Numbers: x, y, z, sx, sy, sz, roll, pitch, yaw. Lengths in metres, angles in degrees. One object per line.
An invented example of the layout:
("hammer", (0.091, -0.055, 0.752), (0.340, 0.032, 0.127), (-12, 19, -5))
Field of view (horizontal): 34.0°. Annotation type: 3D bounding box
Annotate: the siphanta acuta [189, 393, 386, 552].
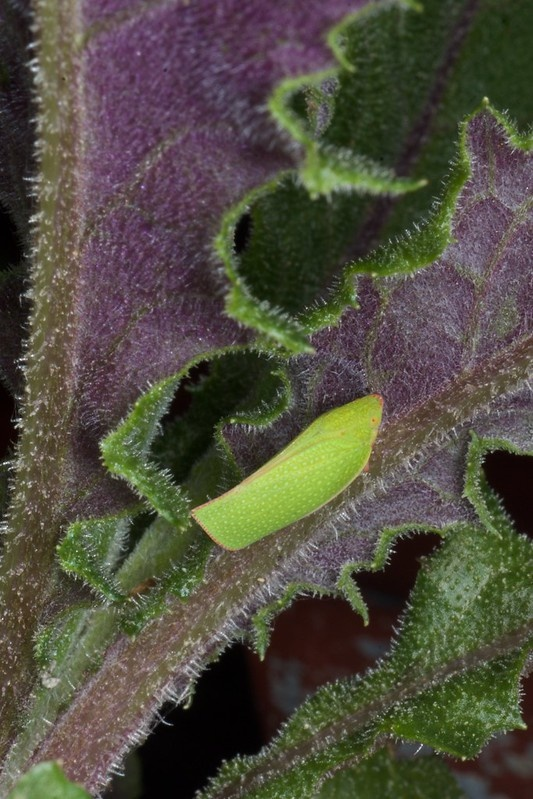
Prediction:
("siphanta acuta", (0.056, 0.154, 1.753), (0.465, 0.197, 0.155), (-39, 19, 0))
